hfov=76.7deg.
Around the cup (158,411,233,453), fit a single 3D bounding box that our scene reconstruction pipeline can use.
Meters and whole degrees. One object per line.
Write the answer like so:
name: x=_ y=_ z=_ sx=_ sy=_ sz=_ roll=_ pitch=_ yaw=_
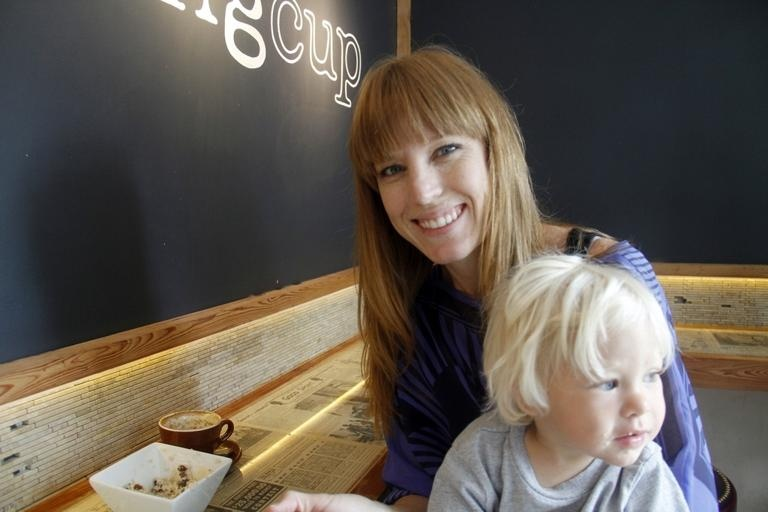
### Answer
cup: x=-0.522 y=0.508 z=1.348 sx=0.200 sy=0.101 sz=0.168 roll=4 pitch=1 yaw=1
